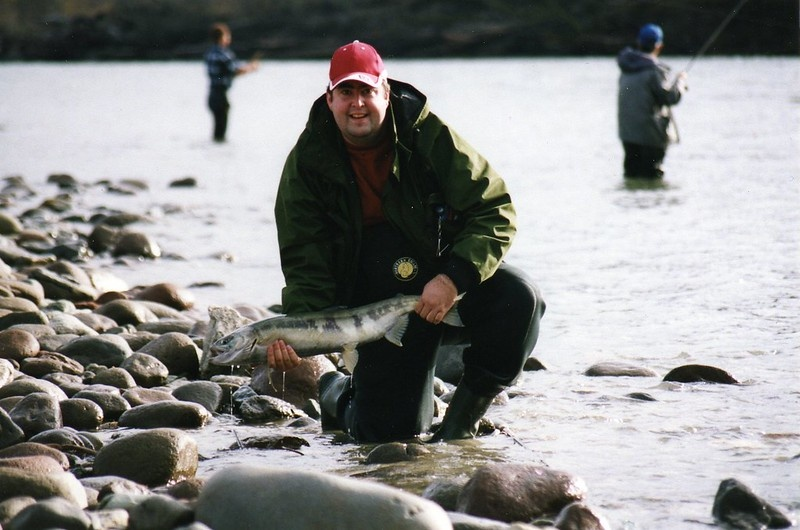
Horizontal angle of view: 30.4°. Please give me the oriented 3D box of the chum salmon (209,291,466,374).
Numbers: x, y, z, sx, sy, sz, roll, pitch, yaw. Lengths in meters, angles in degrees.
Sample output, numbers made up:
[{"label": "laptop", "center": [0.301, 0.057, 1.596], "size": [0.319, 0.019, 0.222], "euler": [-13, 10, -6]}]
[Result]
[{"label": "chum salmon", "center": [-0.762, 0.755, 17.366], "size": [2.992, 0.760, 0.423], "euler": [-11, -12, 5]}]

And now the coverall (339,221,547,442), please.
[{"label": "coverall", "center": [0.404, 0.957, 17.217], "size": [2.710, 2.491, 0.834], "euler": [11, 15, 3]}]

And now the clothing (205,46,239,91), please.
[{"label": "clothing", "center": [-3.692, -4.022, 29.662], "size": [0.473, 0.810, 1.130], "euler": [-14, 13, -32]}]
